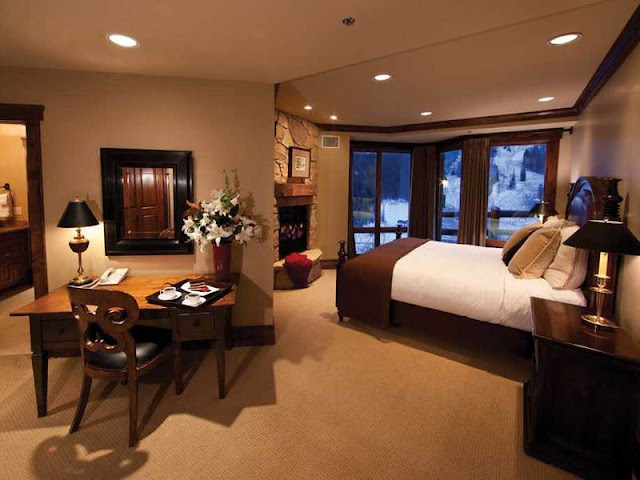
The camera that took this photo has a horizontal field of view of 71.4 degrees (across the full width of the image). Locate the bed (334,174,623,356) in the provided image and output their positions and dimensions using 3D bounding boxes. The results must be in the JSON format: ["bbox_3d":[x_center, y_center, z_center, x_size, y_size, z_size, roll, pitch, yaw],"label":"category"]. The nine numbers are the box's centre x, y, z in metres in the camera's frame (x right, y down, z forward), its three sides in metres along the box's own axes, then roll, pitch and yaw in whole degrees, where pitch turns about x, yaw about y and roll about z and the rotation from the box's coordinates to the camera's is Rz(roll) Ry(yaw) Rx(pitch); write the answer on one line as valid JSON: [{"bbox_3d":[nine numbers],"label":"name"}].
[{"bbox_3d":[1.428,0.263,5.220,2.030,1.709,2.100,3,10,21],"label":"bed"}]

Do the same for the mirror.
[{"bbox_3d":[-1.759,-0.417,4.459,1.007,1.345,0.093,0,7,-8],"label":"mirror"}]

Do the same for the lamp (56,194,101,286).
[{"bbox_3d":[-2.269,0.021,4.244,0.338,0.786,0.526,-6,15,-27],"label":"lamp"}]

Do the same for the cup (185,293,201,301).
[{"bbox_3d":[-1.086,0.495,3.807,0.080,0.041,0.058,-1,5,-2],"label":"cup"}]

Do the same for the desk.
[{"bbox_3d":[-1.834,1.068,4.330,1.736,0.944,1.438,2,-6,-34],"label":"desk"}]

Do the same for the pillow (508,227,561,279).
[{"bbox_3d":[2.142,0.154,4.481,0.392,0.573,0.760,3,2,17],"label":"pillow"}]

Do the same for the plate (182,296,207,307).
[{"bbox_3d":[-1.067,0.525,3.767,0.112,0.041,0.113,0,14,5],"label":"plate"}]

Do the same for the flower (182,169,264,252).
[{"bbox_3d":[-0.959,-0.240,4.505,0.765,0.858,0.761,5,-2,-23],"label":"flower"}]

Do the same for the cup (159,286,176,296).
[{"bbox_3d":[-1.296,0.439,3.813,0.086,0.067,0.067,-1,6,-5],"label":"cup"}]

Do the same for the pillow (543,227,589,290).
[{"bbox_3d":[2.413,-0.012,4.456,0.435,0.805,1.100,-1,7,28],"label":"pillow"}]

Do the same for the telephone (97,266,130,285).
[{"bbox_3d":[-1.999,0.346,4.289,0.171,0.067,0.176,0,21,-4],"label":"telephone"}]

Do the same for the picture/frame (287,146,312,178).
[{"bbox_3d":[-0.301,-1.176,6.816,0.093,0.522,0.769,5,15,18],"label":"picture/frame"}]

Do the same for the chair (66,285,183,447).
[{"bbox_3d":[-1.653,0.914,3.668,0.704,1.248,0.631,4,14,11],"label":"chair"}]
